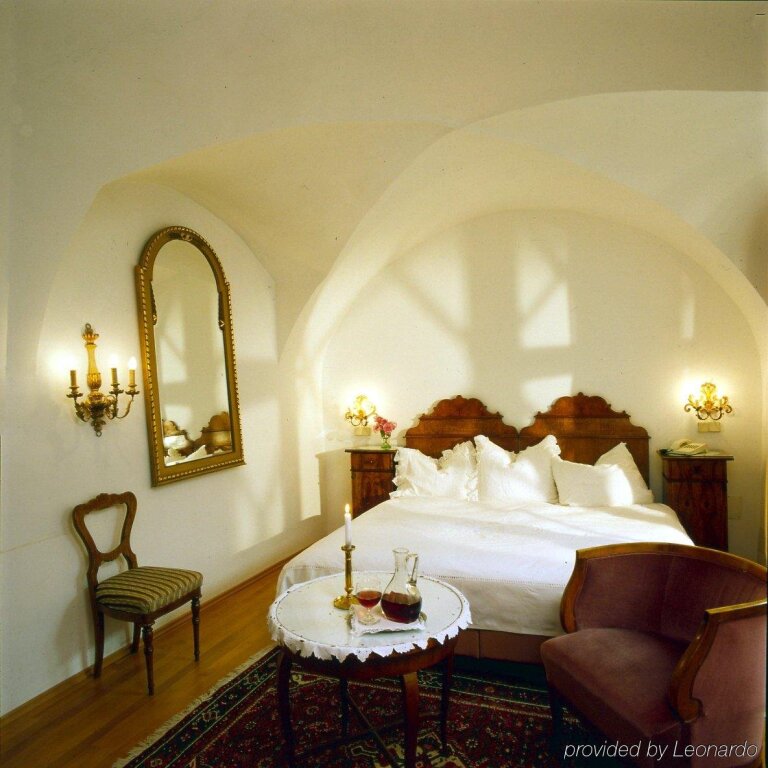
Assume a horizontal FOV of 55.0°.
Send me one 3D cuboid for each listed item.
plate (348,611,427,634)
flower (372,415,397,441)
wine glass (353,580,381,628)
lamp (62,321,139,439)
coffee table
[{"bbox_3d":[0.015,1.018,3.150,0.324,0.024,0.188,-2,6,2],"label":"plate"},{"bbox_3d":[0.013,0.379,6.677,0.186,0.198,0.194,3,16,27],"label":"flower"},{"bbox_3d":[-0.075,0.975,3.242,0.140,0.216,0.145,0,-4,-1],"label":"wine glass"},{"bbox_3d":[-1.640,-0.024,4.345,0.259,0.668,0.555,3,8,38],"label":"lamp"},{"bbox_3d":[-0.078,1.094,3.388,0.828,0.780,0.875,0,2,5],"label":"coffee table"}]
